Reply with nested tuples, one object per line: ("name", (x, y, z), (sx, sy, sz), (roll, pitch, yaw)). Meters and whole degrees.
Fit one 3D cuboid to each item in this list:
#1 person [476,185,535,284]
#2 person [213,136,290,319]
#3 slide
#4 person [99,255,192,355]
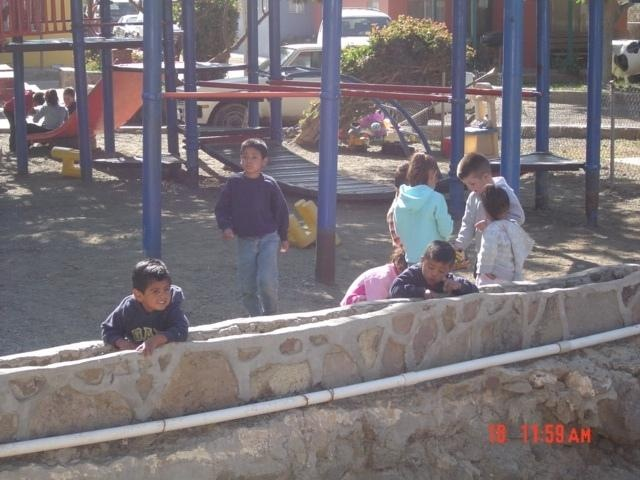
("person", (1.526, -0.027, 8.372), (0.458, 0.814, 0.398), (-6, 13, -23))
("person", (-0.586, -0.078, 8.642), (0.617, 1.507, 0.448), (-2, 12, -5))
("slide", (-3.309, -2.075, 15.536), (2.262, 1.058, 1.459), (-2, 12, 9))
("person", (-1.266, 0.388, 7.293), (0.574, 0.964, 0.606), (-9, 21, -29))
